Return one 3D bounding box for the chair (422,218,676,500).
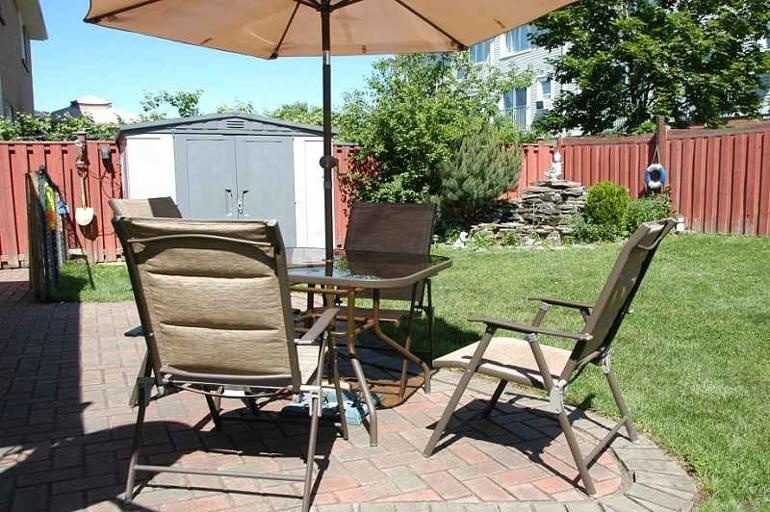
[{"bbox_3d":[1.304,0.535,5.126,2.210,2.319,1.683,4,6,26],"label":"chair"}]

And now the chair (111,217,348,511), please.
[{"bbox_3d":[-1.056,0.644,3.937,1.370,1.841,0.794,0,13,7],"label":"chair"}]
